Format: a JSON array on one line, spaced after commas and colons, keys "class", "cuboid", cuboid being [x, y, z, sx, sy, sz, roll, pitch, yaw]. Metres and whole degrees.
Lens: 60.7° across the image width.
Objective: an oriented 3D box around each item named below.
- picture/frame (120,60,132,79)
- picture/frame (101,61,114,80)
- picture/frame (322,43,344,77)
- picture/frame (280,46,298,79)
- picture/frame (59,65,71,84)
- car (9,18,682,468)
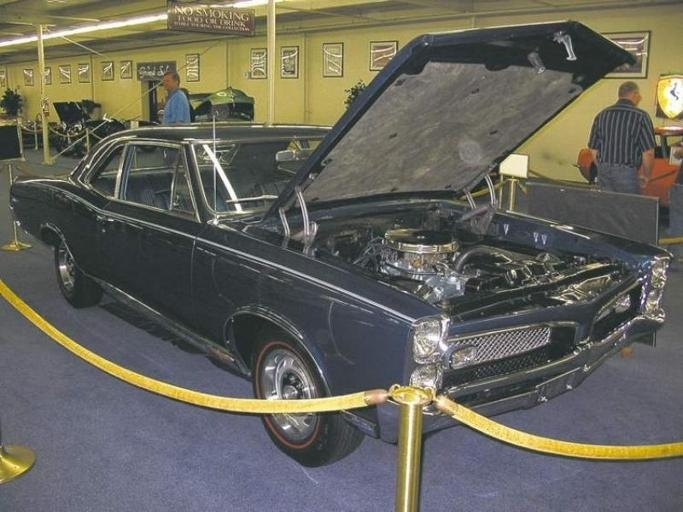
[{"class": "picture/frame", "cuboid": [-8.935, -7.747, 24.189, 0.754, 1.087, 0.105, 5, 8, 44]}, {"class": "picture/frame", "cuboid": [-10.026, -7.902, 24.857, 0.806, 0.847, 0.206, 12, 15, 30]}, {"class": "picture/frame", "cuboid": [-0.252, -6.012, 17.758, 0.077, 1.125, 0.901, -7, 14, -39]}, {"class": "picture/frame", "cuboid": [-1.687, -6.308, 18.863, 0.082, 1.132, 0.916, -10, 14, -42]}, {"class": "picture/frame", "cuboid": [-13.022, -8.526, 27.429, 0.825, 0.867, 0.227, 9, 10, 37]}, {"class": "car", "cuboid": [-0.337, -0.246, 4.573, 2.347, 2.077, 4.285, -12, 20, -41]}]
